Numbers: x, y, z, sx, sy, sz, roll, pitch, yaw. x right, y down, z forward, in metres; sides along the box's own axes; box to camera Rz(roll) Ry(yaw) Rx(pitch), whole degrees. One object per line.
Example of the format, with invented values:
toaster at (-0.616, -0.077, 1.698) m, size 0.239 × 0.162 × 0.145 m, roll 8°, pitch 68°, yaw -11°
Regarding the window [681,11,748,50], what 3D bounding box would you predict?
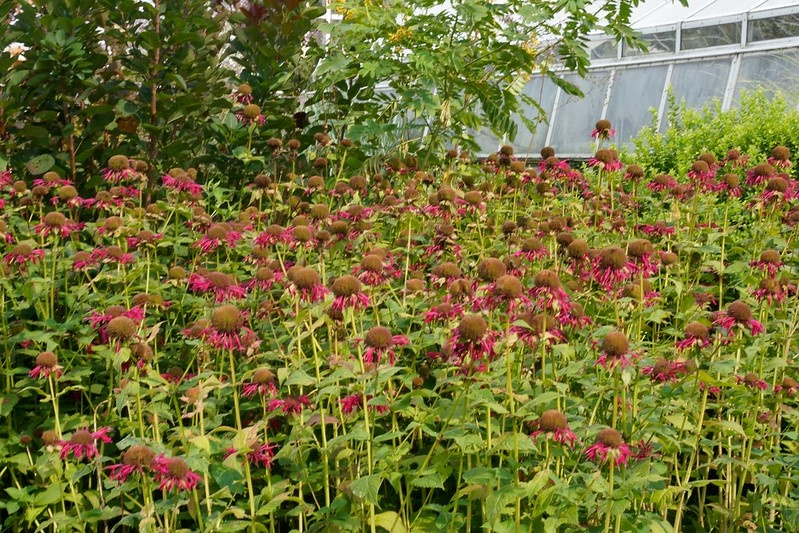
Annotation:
window at (7.018, -5.222, 20.945) m, size 1.182 × 0.681 × 0.063 m, roll -2°, pitch -20°, yaw 45°
